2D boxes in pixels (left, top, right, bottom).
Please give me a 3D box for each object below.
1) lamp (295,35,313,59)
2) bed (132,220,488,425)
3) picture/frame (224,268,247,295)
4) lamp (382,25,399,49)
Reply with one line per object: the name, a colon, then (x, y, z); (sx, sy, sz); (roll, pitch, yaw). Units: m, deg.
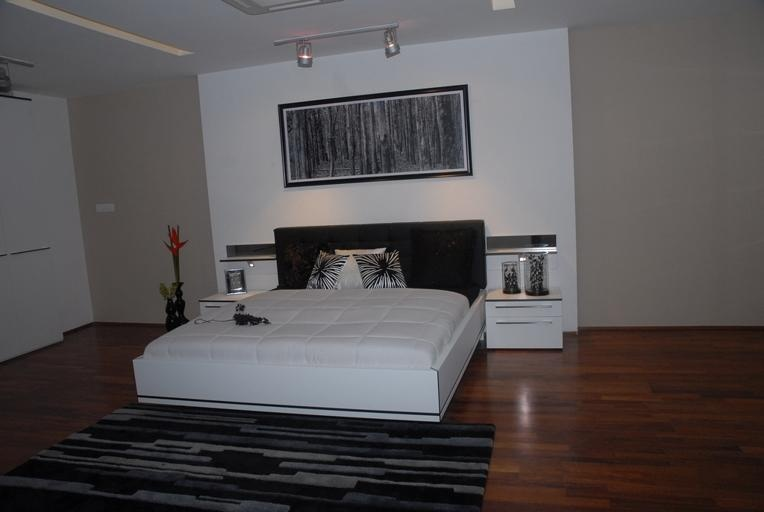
lamp: (-0.785, -2.113, 4.930); (0.134, 0.178, 0.183); (-5, 6, -15)
bed: (-0.482, 0.411, 5.078); (2.692, 1.448, 2.761); (-2, 5, 17)
picture/frame: (-1.733, 0.299, 5.751); (0.267, 0.377, 0.266); (0, 5, -4)
lamp: (0.086, -2.167, 4.860); (0.132, 0.197, 0.305); (-3, 5, 2)
